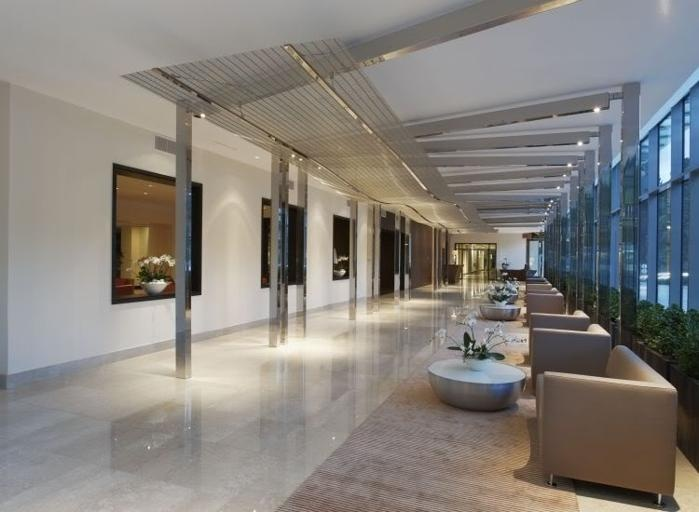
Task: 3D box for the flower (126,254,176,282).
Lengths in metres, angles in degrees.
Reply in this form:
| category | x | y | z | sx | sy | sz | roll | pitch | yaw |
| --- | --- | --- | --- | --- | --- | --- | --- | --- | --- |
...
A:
| category | x | y | z | sx | sy | sz | roll | pitch | yaw |
| --- | --- | --- | --- | --- | --- | --- | --- | --- | --- |
| flower | -4.907 | 0.272 | 10.840 | 0.674 | 0.463 | 0.901 | 5 | -7 | -38 |

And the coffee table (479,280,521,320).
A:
| category | x | y | z | sx | sy | sz | roll | pitch | yaw |
| --- | --- | --- | --- | --- | --- | --- | --- | --- | --- |
| coffee table | 4.172 | 1.219 | 12.387 | 0.932 | 0.997 | 2.655 | 0 | -6 | 13 |

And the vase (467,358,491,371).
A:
| category | x | y | z | sx | sy | sz | roll | pitch | yaw |
| --- | --- | --- | --- | --- | --- | --- | --- | --- | --- |
| vase | 1.572 | 1.317 | 5.463 | 0.177 | 0.086 | 0.184 | 1 | -5 | 7 |
